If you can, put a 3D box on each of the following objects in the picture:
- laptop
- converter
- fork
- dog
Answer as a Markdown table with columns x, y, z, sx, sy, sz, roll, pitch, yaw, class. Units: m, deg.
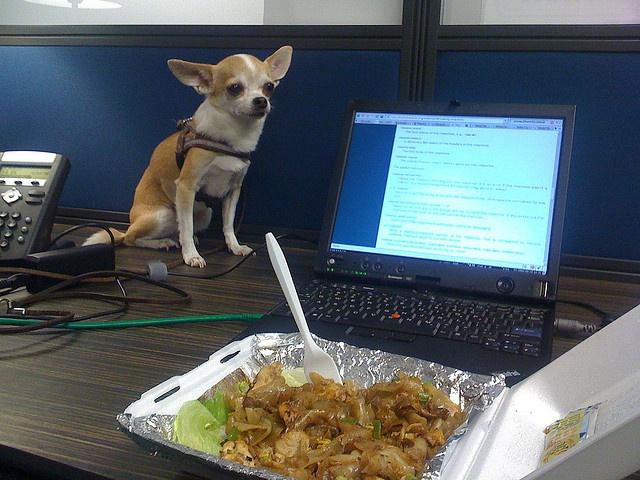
| x | y | z | sx | sy | sz | roll | pitch | yaw | class |
| --- | --- | --- | --- | --- | --- | --- | --- | --- | --- |
| 0.146 | -0.055 | 1.003 | 0.591 | 0.403 | 0.586 | 7 | 15 | 23 | laptop |
| -0.460 | 0.039 | 0.946 | 0.145 | 0.051 | 0.042 | -9 | 24 | -31 | converter |
| -0.052 | 0.065 | 0.693 | 0.053 | 0.280 | 0.059 | -22 | -13 | 6 | fork |
| -0.415 | -0.179 | 1.177 | 0.588 | 0.496 | 0.364 | 5 | 10 | 30 | dog |
